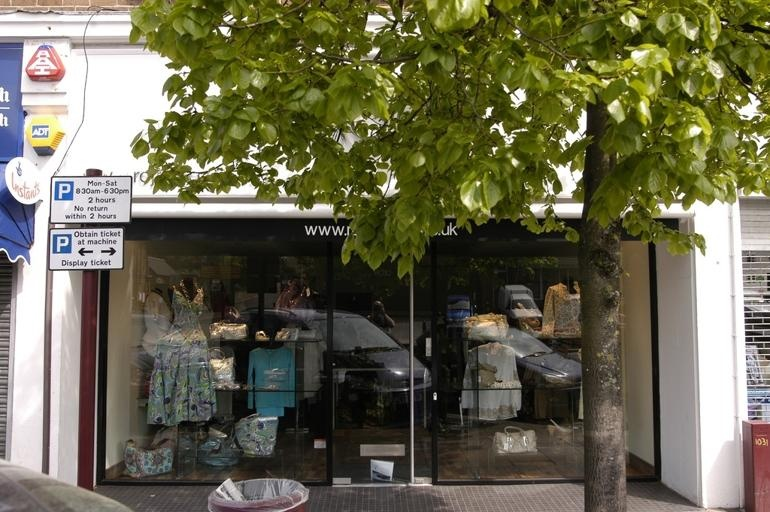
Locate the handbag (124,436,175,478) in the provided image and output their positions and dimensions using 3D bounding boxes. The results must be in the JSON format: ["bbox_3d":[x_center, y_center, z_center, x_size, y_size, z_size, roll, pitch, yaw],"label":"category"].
[{"bbox_3d":[-3.248,2.775,11.611,0.380,0.521,0.714,-8,-9,37],"label":"handbag"}]

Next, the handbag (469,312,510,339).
[{"bbox_3d":[1.404,0.968,11.590,0.584,0.332,0.084,-2,14,-5],"label":"handbag"}]

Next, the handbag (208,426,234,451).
[{"bbox_3d":[-2.260,2.497,11.488,0.343,0.286,0.100,3,14,13],"label":"handbag"}]

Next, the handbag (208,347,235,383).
[{"bbox_3d":[-2.254,1.516,11.575,0.484,0.537,0.193,-1,0,1],"label":"handbag"}]

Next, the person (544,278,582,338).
[{"bbox_3d":[2.499,0.795,11.860,0.550,0.717,0.524,-7,-19,40],"label":"person"}]

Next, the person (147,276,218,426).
[{"bbox_3d":[-2.830,1.369,11.554,0.920,1.824,0.623,-3,14,-11],"label":"person"}]

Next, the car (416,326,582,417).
[{"bbox_3d":[1.600,1.637,11.787,2.229,1.024,1.141,-1,-2,13],"label":"car"}]

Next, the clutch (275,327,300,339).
[{"bbox_3d":[-1.327,1.071,11.475,0.198,0.177,0.053,0,-8,7],"label":"clutch"}]

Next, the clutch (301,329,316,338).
[{"bbox_3d":[-1.055,1.068,11.469,0.166,0.111,0.042,-1,-3,11],"label":"clutch"}]

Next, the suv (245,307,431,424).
[{"bbox_3d":[-0.741,1.492,12.489,1.508,1.507,3.176,0,4,-35],"label":"suv"}]

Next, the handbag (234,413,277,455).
[{"bbox_3d":[-1.815,2.483,11.743,0.735,0.539,0.666,-1,-3,-27],"label":"handbag"}]
